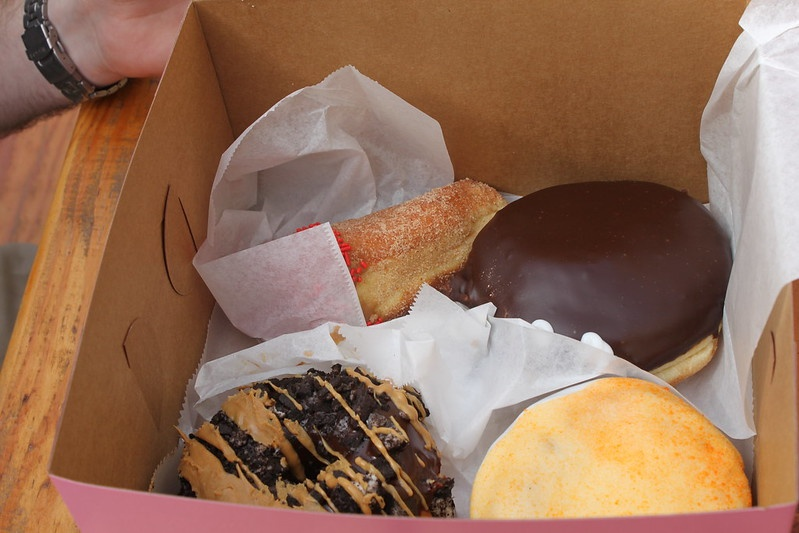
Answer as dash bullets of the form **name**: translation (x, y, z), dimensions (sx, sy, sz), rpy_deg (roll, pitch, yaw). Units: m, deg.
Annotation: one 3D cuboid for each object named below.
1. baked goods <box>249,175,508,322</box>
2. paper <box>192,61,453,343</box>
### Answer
- **baked goods**: translation (-0.001, -0.044, 1.598), dimensions (0.411, 0.156, 0.238), rpy_deg (-28, 52, -6)
- **paper**: translation (-0.203, -0.158, 1.681), dimensions (0.247, 0.453, 0.599), rpy_deg (-8, 41, 45)
